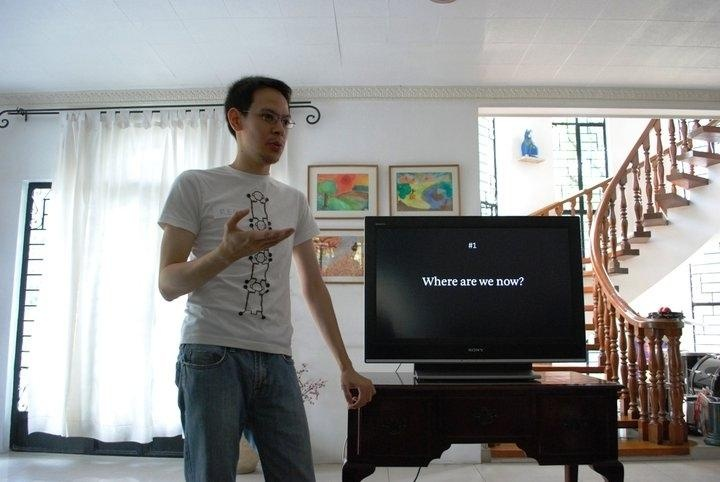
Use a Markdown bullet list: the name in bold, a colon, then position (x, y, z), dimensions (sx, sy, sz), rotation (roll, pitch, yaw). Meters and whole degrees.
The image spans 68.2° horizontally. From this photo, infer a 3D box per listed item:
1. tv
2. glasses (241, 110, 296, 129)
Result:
- **tv**: position (0.732, 0.364, 3.497), dimensions (1.148, 0.749, 0.287), rotation (0, -4, 0)
- **glasses**: position (-0.541, -0.713, 3.054), dimensions (0.180, 0.049, 0.172), rotation (11, 2, 42)
